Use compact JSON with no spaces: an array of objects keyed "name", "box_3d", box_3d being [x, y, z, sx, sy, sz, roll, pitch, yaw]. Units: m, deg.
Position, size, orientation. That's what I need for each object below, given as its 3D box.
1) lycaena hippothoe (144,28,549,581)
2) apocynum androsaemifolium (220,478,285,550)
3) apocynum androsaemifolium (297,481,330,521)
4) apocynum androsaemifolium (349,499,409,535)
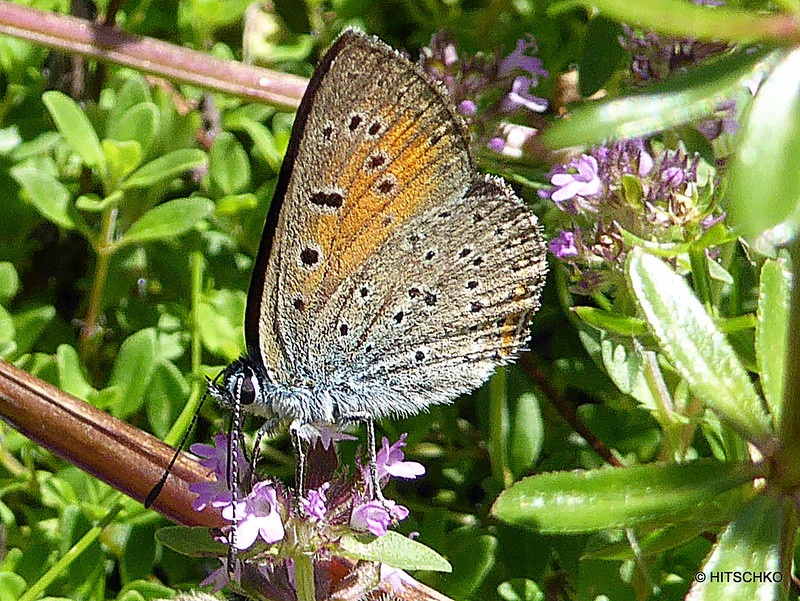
[{"name":"lycaena hippothoe","box_3d":[-0.183,-0.039,2.472,1.084,1.125,0.881,-10,0,5]},{"name":"apocynum androsaemifolium","box_3d":[-0.300,0.455,1.872,0.108,0.158,0.133,-3,10,-1]},{"name":"apocynum androsaemifolium","box_3d":[-0.174,0.437,1.935,0.035,0.078,0.071,25,13,-32]},{"name":"apocynum androsaemifolium","box_3d":[-0.043,0.458,1.911,0.082,0.046,0.092,-30,9,26]}]
